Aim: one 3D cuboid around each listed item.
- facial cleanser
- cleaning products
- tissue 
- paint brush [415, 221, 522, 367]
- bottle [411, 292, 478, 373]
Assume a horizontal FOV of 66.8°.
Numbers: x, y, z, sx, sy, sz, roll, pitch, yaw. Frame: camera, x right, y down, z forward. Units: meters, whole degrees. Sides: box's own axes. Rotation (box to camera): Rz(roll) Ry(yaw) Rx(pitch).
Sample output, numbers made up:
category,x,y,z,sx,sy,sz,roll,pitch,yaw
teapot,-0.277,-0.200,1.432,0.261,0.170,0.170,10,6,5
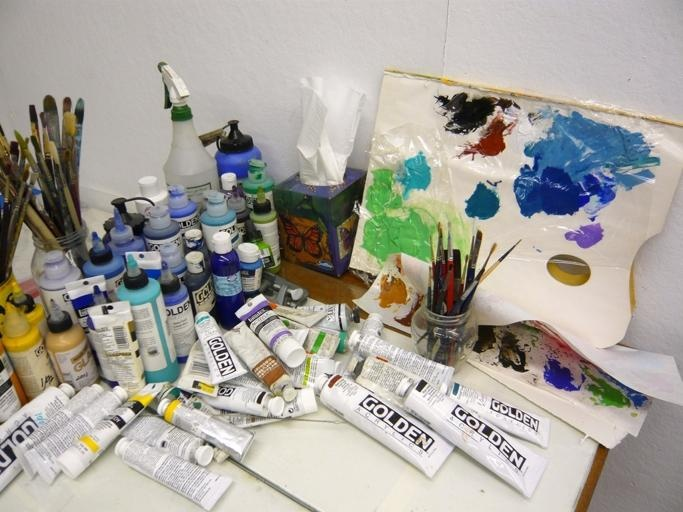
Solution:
category,x,y,z,sx,sy,sz,roll,pitch,yaw
facial cleanser,-0.125,0.134,0.942,0.062,0.042,0.143,-27,65,-41
cleaning products,-0.321,-0.242,1.115,0.106,0.301,0.100,17,36,24
tissue ,-0.047,-0.167,1.128,0.182,0.390,0.183,20,30,38
paint brush,0.232,0.075,0.924,0.175,0.278,0.129,-5,30,-28
bottle,0.175,0.139,0.940,0.112,0.118,0.110,13,39,20
